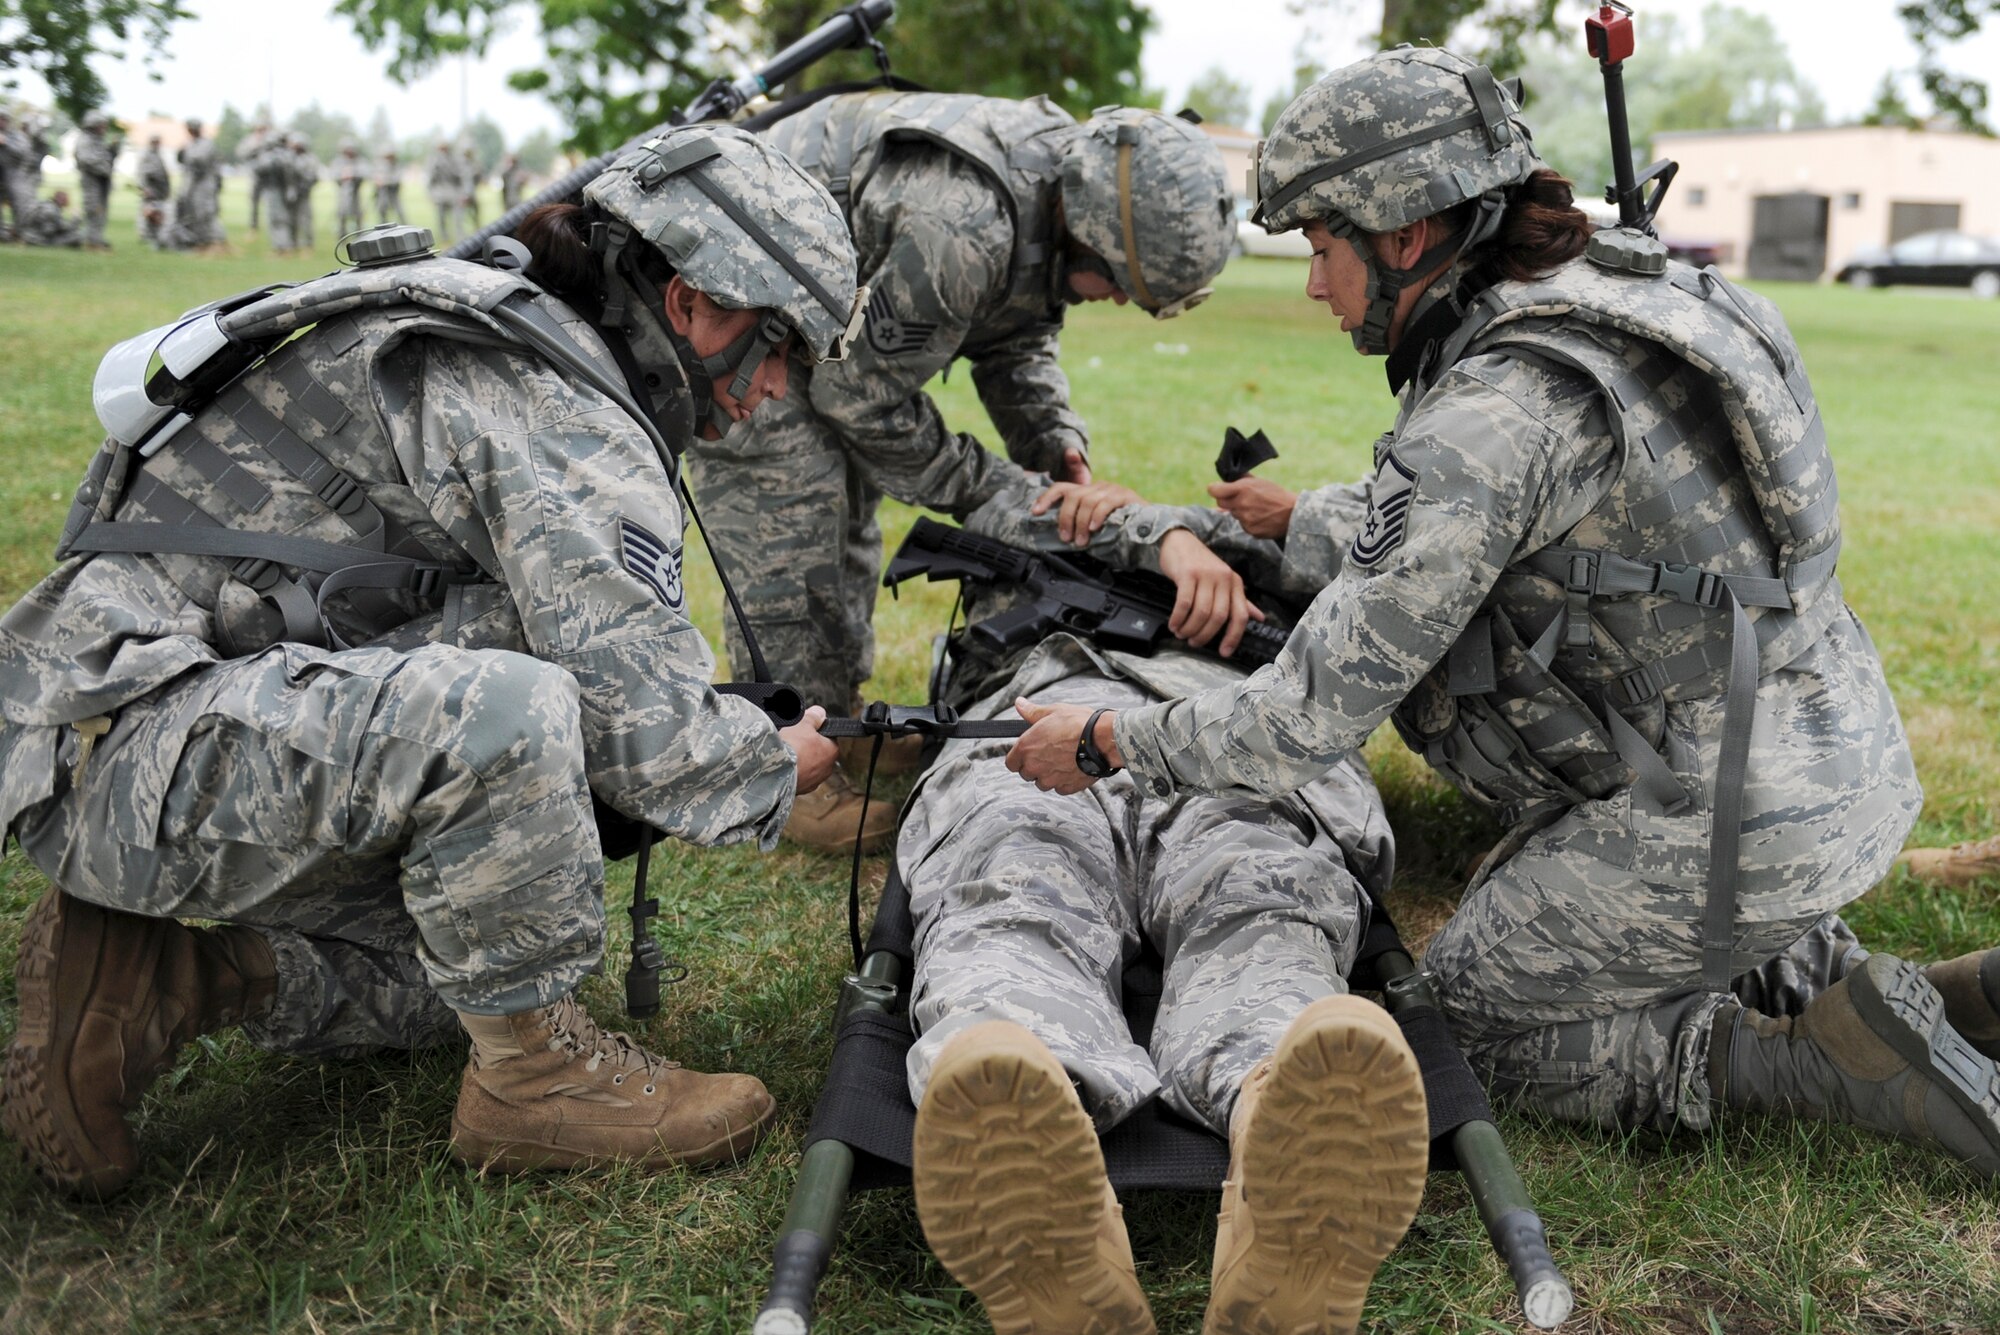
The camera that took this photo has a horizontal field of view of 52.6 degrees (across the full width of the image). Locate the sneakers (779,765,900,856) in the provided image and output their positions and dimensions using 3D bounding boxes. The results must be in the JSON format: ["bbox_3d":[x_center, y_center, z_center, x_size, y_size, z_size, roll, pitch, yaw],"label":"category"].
[{"bbox_3d":[-0.488,0.438,5.904,0.418,0.183,0.179,10,8,-40],"label":"sneakers"}]

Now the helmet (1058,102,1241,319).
[{"bbox_3d":[0.400,-1.269,5.684,0.570,0.519,0.437,19,33,33],"label":"helmet"}]

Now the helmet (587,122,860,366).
[{"bbox_3d":[-0.695,-0.999,4.641,0.696,0.416,0.502,22,2,-34],"label":"helmet"}]

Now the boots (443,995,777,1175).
[{"bbox_3d":[-0.878,0.878,4.719,0.841,0.548,0.302,-3,15,-12],"label":"boots"}]

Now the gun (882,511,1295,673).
[{"bbox_3d":[0.242,-0.134,5.430,1.128,0.120,0.403,21,61,22],"label":"gun"}]
